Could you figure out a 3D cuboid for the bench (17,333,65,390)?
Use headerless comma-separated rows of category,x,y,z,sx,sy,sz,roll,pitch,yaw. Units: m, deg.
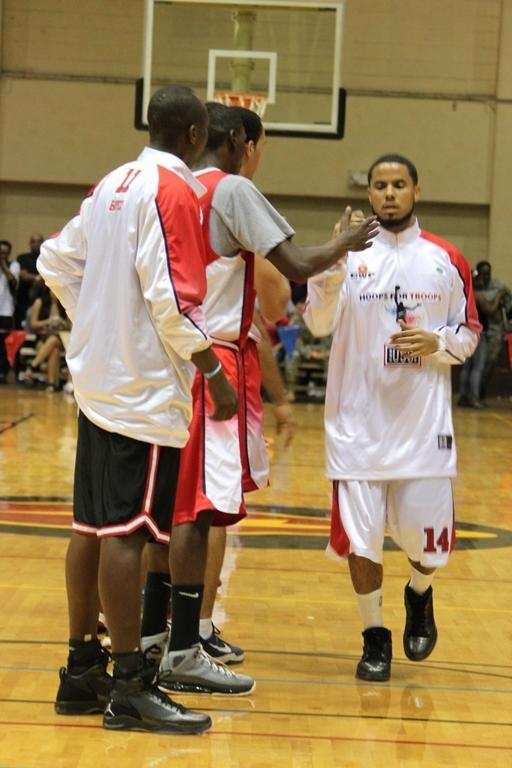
bench,-2.872,-0.337,11.092,0.561,0.501,0.763,1,-1,12

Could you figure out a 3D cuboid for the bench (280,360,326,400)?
bench,0.682,-0.045,11.092,0.726,0.481,0.678,-2,-4,-5

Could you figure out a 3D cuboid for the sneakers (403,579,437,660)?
sneakers,0.492,0.699,2.495,0.085,0.094,0.239,-1,38,10

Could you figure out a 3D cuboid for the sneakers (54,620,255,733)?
sneakers,-0.245,0.665,1.885,0.448,0.208,0.154,4,-5,5

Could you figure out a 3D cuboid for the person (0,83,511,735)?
person,-0.138,0.002,1.998,0.690,1.578,0.661,3,2,-37
